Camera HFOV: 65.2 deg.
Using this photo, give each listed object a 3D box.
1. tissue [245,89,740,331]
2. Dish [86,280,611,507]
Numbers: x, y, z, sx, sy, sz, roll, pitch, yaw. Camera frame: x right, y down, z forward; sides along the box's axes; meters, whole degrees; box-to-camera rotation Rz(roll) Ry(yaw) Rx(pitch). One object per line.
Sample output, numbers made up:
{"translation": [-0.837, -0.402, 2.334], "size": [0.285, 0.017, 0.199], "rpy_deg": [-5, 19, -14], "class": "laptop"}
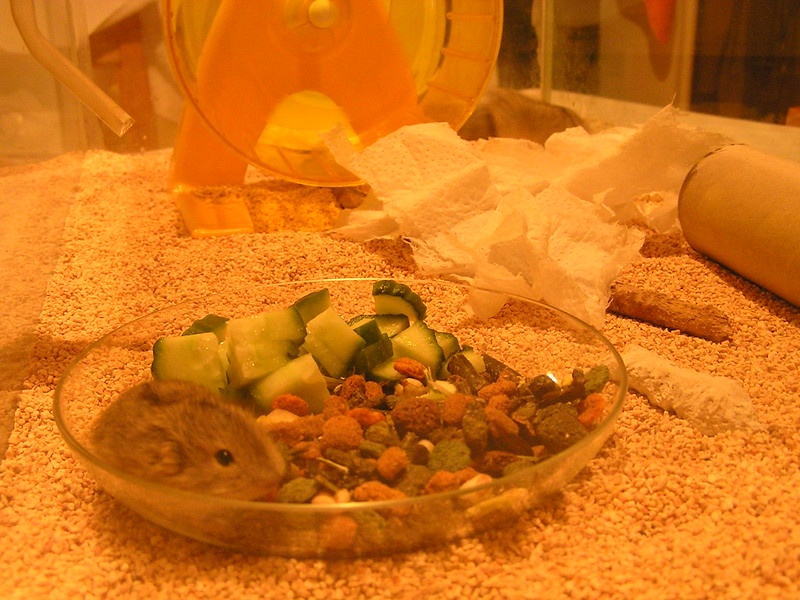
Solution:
{"translation": [0.289, -0.225, 1.389], "size": [0.621, 0.201, 0.619], "rpy_deg": [1, 36, 10], "class": "tissue"}
{"translation": [-0.027, 0.056, 0.920], "size": [0.574, 0.224, 0.537], "rpy_deg": [-3, 31, 10], "class": "Dish"}
